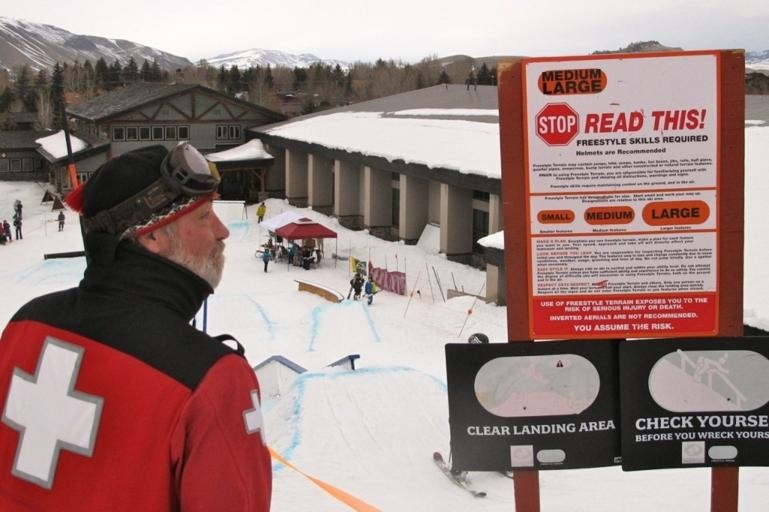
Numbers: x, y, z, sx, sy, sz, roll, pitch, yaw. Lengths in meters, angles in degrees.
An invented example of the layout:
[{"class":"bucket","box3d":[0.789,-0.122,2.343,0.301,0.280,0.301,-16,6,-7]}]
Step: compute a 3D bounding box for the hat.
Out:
[{"class":"hat","box3d":[-1.320,-0.325,4.557,0.653,0.325,0.473,-24,30,3]}]
